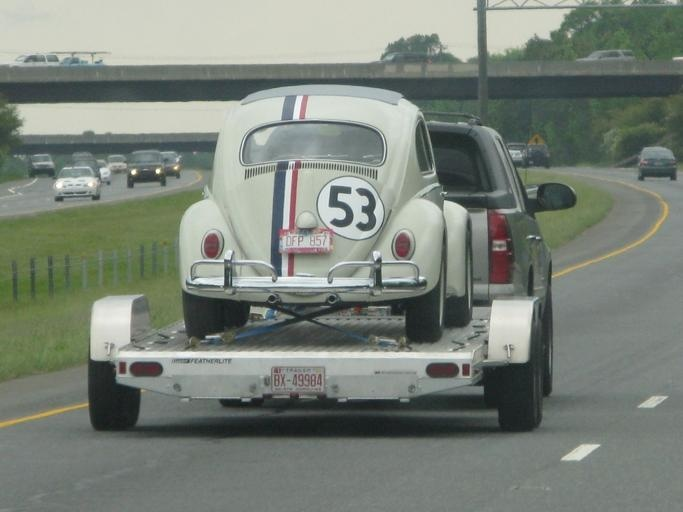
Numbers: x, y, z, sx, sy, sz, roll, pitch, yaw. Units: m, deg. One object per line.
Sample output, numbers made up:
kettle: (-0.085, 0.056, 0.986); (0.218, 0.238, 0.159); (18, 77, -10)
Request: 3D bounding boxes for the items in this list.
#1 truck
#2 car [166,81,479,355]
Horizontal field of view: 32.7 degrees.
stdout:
truck: (0.208, -0.017, 12.798); (2.917, 2.339, 4.590); (0, 3, 8)
car: (-0.177, -0.351, 11.662); (2.824, 2.559, 1.705); (-2, 12, 4)
